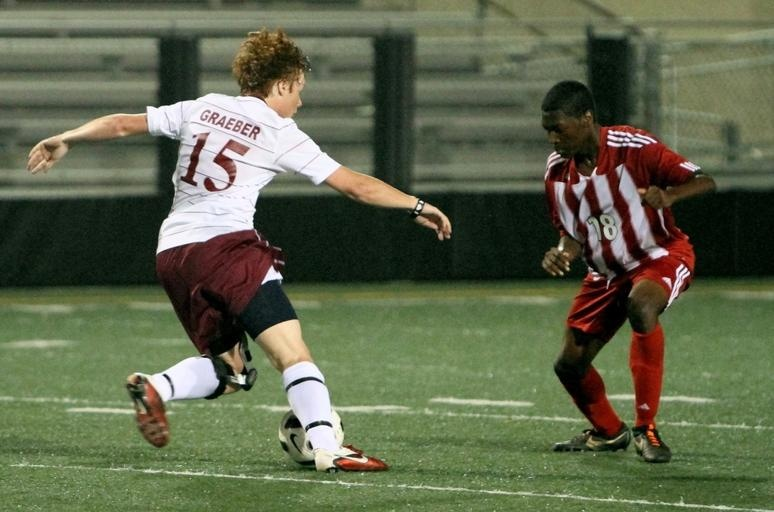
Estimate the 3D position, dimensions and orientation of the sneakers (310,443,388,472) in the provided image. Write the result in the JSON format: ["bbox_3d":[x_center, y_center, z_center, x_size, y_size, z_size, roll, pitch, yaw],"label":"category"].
[{"bbox_3d":[-0.301,1.465,9.148,0.436,0.149,0.211,-3,2,-23],"label":"sneakers"}]

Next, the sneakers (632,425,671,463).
[{"bbox_3d":[2.017,1.422,9.523,0.280,0.260,0.244,-3,7,10],"label":"sneakers"}]

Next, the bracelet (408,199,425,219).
[{"bbox_3d":[0.212,-0.341,9.220,0.080,0.110,0.121,38,-8,4],"label":"bracelet"}]

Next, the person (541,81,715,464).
[{"bbox_3d":[1.788,0.083,9.620,1.135,2.834,0.573,-3,7,12],"label":"person"}]

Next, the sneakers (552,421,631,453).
[{"bbox_3d":[1.598,1.416,9.830,0.653,0.231,0.218,2,-12,-1],"label":"sneakers"}]
